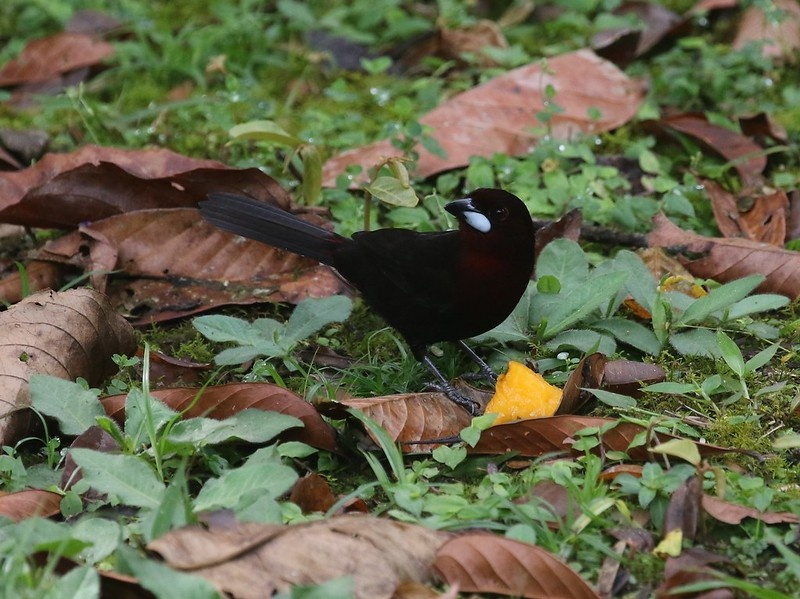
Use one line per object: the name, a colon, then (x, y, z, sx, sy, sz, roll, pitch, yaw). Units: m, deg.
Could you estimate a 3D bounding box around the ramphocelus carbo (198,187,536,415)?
ramphocelus carbo: (-0.105, -0.195, 3.886, 2.111, 0.854, 0.586, 14, 32, 30)
